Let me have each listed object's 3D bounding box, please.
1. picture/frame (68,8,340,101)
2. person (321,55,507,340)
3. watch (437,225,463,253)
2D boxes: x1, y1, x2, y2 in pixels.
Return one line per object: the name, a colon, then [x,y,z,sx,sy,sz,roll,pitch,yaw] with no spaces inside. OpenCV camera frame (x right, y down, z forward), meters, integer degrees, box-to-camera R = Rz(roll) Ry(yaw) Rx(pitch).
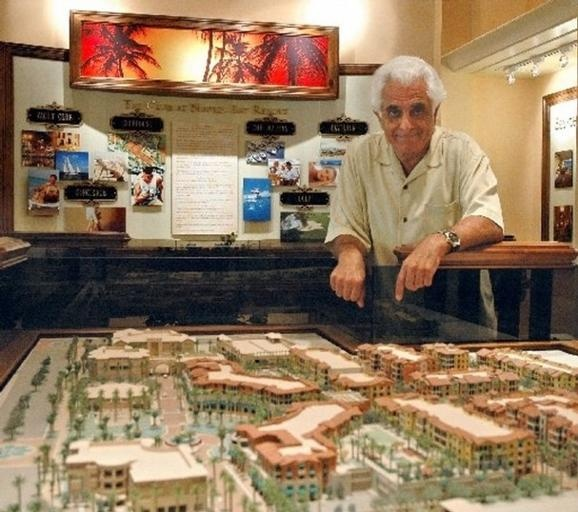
picture/frame: [-0.633,-1.565,3.981,2.071,0.583,0.109,0,11,-4]
person: [0.479,-0.231,1.903,0.664,1.023,0.702,0,8,10]
watch: [0.574,-0.061,1.774,0.056,0.072,0.078,-10,50,-11]
